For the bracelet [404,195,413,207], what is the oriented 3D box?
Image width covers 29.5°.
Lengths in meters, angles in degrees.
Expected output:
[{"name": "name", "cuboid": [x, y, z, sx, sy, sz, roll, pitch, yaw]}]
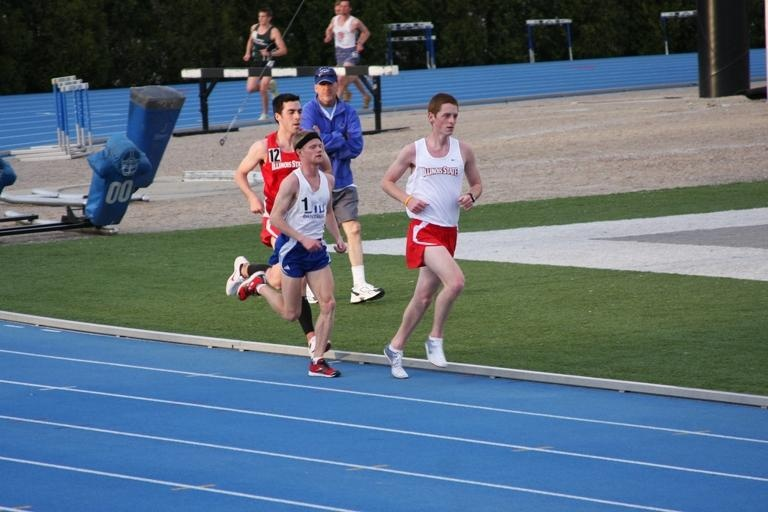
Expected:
[{"name": "bracelet", "cuboid": [0.244, -0.583, 15.317, 0.046, 0.104, 0.095, 30, -14, 0]}]

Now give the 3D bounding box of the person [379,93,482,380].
[{"name": "person", "cuboid": [0.478, -0.247, 15.413, 1.091, 2.892, 1.037, -2, 13, 3]}]

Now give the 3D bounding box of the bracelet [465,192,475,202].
[{"name": "bracelet", "cuboid": [0.909, -0.619, 15.302, 0.039, 0.096, 0.085, -42, 25, 9]}]
